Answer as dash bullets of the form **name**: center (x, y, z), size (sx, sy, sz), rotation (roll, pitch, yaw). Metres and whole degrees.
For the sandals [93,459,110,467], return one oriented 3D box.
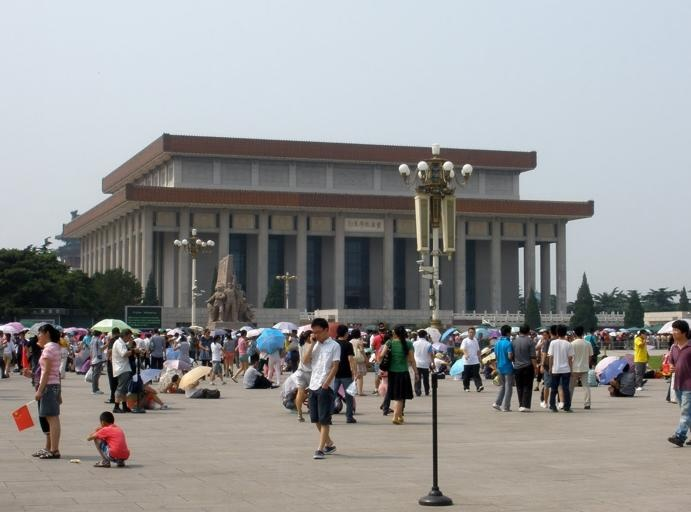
- **sandals**: center (-5.062, 4.342, 33.486), size (0.295, 0.130, 0.148), rotation (4, -4, 24)

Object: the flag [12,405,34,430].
- **flag**: center (-6.862, 3.439, 34.160), size (0.393, 0.528, 0.420), rotation (0, -5, -12)

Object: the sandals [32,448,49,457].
- **sandals**: center (-6.549, 4.206, 34.167), size (0.431, 0.189, 0.149), rotation (2, -14, 17)

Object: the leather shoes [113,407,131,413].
- **leather shoes**: center (-5.780, 4.017, 41.550), size (0.443, 0.197, 0.154), rotation (0, -6, 4)

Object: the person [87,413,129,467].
- **person**: center (-4.995, 3.862, 33.767), size (0.835, 1.142, 0.808), rotation (0, -2, -19)

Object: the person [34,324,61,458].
- **person**: center (-6.304, 2.960, 34.243), size (0.472, 2.474, 0.757), rotation (0, -1, -21)

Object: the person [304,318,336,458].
- **person**: center (-0.460, 2.819, 34.645), size (0.735, 2.748, 0.596), rotation (2, 0, 43)

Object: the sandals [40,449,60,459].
- **sandals**: center (-6.272, 4.227, 34.064), size (0.386, 0.156, 0.146), rotation (5, -14, 5)
